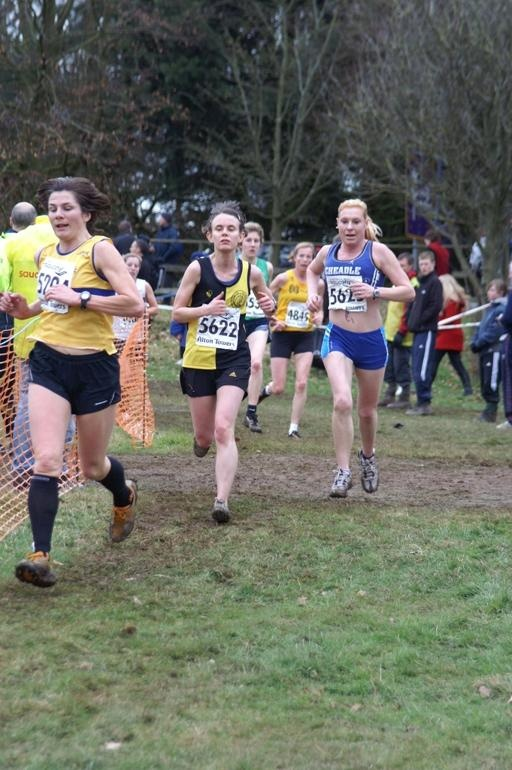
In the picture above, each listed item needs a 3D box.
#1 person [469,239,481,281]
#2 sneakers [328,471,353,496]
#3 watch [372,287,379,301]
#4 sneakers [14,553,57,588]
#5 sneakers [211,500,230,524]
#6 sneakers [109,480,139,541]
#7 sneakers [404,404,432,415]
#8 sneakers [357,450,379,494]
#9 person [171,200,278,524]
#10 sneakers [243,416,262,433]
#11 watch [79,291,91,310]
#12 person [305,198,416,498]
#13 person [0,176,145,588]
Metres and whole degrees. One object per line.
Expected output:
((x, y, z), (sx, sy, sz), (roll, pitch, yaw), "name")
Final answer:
((4.173, -2.396, 17.149), (0.305, 0.783, 0.240), (-4, -6, 8), "person")
((0.543, 0.644, 5.824), (0.083, 0.186, 0.193), (4, 7, 22), "sneakers")
((0.740, -0.571, 5.652), (0.049, 0.069, 0.068), (0, 3, -8), "watch")
((-0.968, 0.822, 3.963), (0.189, 0.094, 0.145), (35, 23, -28), "sneakers")
((-0.204, 0.738, 5.245), (0.090, 0.160, 0.073), (-1, 48, 4), "sneakers")
((-0.715, 0.695, 4.888), (0.128, 0.342, 0.150), (6, -7, 3), "sneakers")
((2.123, 0.330, 11.900), (0.349, 0.218, 0.134), (3, -4, -2), "sneakers")
((0.760, 0.608, 6.141), (0.128, 0.349, 0.156), (-7, -5, 4), "sneakers")
((-0.276, -0.144, 5.338), (0.460, 1.891, 0.679), (2, 7, 6), "person")
((-0.032, 0.416, 9.459), (0.095, 0.110, 0.264), (6, 6, -34), "sneakers")
((-0.758, -0.380, 4.007), (0.047, 0.067, 0.068), (5, -26, -1), "watch")
((0.689, -0.220, 6.024), (0.673, 2.005, 0.834), (0, 7, -8), "person")
((-0.803, -0.062, 4.219), (0.533, 1.793, 1.038), (0, 7, -7), "person")
